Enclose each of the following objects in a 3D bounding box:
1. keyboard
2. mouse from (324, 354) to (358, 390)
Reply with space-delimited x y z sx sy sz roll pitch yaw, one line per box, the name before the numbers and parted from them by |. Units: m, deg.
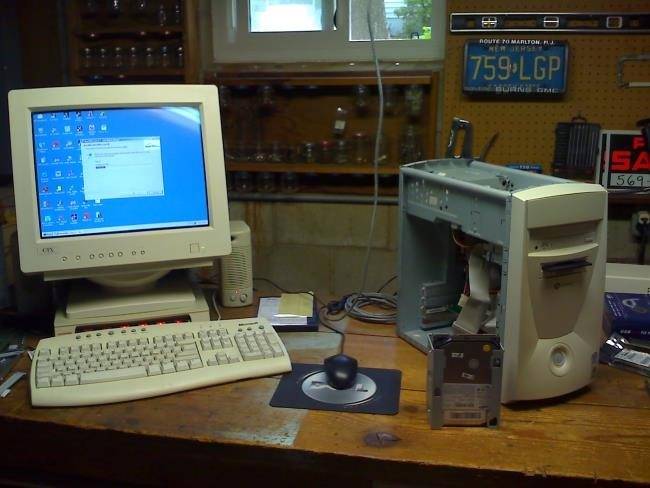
keyboard | -0.401 0.280 1.445 0.604 0.091 0.226 -5 16 -12
mouse | 0.034 0.296 1.406 0.093 0.069 0.115 -2 17 -8
